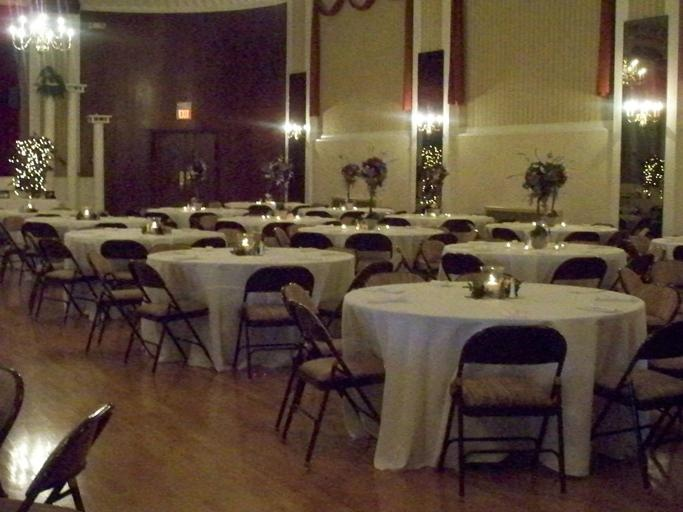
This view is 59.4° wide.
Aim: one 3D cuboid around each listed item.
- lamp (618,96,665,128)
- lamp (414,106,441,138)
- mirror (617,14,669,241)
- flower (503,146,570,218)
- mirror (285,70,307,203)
[{"bbox_3d":[4.838,-2.316,9.640,0.432,0.375,0.471,0,3,-6],"label":"lamp"},{"bbox_3d":[1.837,-2.827,12.742,0.182,0.544,0.735,-9,12,-40],"label":"lamp"},{"bbox_3d":[4.835,-2.192,9.678,0.816,3.486,0.086,2,-3,2],"label":"mirror"},{"bbox_3d":[2.146,-0.840,6.186,0.533,0.490,0.441,-3,-9,23],"label":"flower"},{"bbox_3d":[-1.092,-3.416,15.828,0.598,2.739,0.252,7,10,37],"label":"mirror"}]
